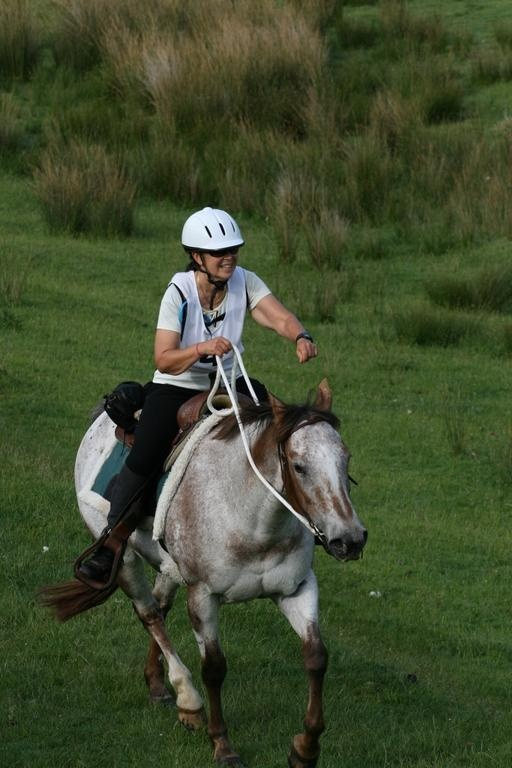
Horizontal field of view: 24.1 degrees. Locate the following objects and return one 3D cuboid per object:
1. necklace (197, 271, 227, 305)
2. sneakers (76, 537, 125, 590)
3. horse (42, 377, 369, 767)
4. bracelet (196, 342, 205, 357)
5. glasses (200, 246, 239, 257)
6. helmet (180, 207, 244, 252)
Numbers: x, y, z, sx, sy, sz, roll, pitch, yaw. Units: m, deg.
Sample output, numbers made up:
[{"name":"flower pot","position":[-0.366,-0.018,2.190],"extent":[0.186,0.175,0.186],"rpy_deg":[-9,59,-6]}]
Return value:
[{"name":"necklace","position":[-0.198,-0.418,5.421],"extent":[0.100,0.164,0.133],"rpy_deg":[4,-10,1]},{"name":"sneakers","position":[-0.745,0.873,5.754],"extent":[0.178,0.286,0.110],"rpy_deg":[30,-15,6]},{"name":"horse","position":[-0.212,0.842,5.321],"extent":[0.676,1.937,1.969],"rpy_deg":[-6,16,-35]},{"name":"bracelet","position":[-0.240,-0.145,5.110],"extent":[0.021,0.043,0.075],"rpy_deg":[3,31,-6]},{"name":"glasses","position":[-0.169,-0.593,5.370],"extent":[0.180,0.051,0.111],"rpy_deg":[1,14,-9]},{"name":"helmet","position":[-0.220,-0.707,5.423],"extent":[0.179,0.146,0.254],"rpy_deg":[-8,12,-28]}]
